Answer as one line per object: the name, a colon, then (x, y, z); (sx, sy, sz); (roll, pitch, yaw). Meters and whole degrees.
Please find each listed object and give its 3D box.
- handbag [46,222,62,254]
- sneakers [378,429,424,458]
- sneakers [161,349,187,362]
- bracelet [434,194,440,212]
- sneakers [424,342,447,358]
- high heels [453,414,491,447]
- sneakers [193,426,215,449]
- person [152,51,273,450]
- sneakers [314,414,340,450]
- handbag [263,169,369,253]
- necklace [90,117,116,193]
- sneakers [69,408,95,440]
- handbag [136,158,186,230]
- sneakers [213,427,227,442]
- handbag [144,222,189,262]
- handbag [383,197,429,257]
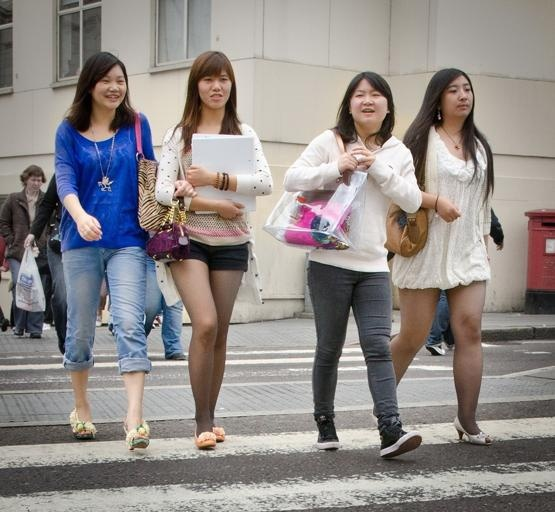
handbag: (-2.264, -0.180, 5.981); (0.104, 0.328, 0.218); (-4, -5, -2)
sneakers: (0.614, 0.954, 3.020); (0.103, 0.145, 0.277); (9, -31, -41)
sneakers: (-1.330, 1.291, 7.531); (0.300, 0.145, 0.106); (-6, -8, 34)
bracelet: (0.943, -0.307, 3.471); (0.023, 0.091, 0.062); (3, 10, 16)
sneakers: (2.296, 1.353, 8.327); (0.424, 0.213, 0.178); (5, 12, -22)
high heels: (1.165, 1.075, 3.580); (0.267, 0.156, 0.092); (-4, -2, 44)
sneakers: (-0.392, 1.013, 3.221); (0.113, 0.112, 0.114); (-1, 10, -9)
person: (-0.377, 0.015, 3.378); (0.498, 2.343, 0.616); (8, 11, 38)
sneakers: (0.286, 1.006, 3.301); (0.081, 0.122, 0.258); (-1, 0, 1)
handbag: (0.216, -0.256, 3.229); (0.487, 0.561, 0.238); (4, -17, 30)
necklace: (-0.974, -0.536, 3.344); (0.127, 0.325, 0.143); (-3, 10, -20)
sneakers: (-1.163, 1.004, 3.506); (0.090, 0.084, 0.235); (0, 5, -25)
handbag: (-0.634, -0.330, 3.253); (0.151, 0.384, 0.338); (-2, -8, 7)
sneakers: (-0.338, 1.048, 3.423); (0.039, 0.050, 0.117); (2, -6, -11)
handbag: (-0.580, -0.110, 3.142); (0.115, 0.280, 0.286); (-3, -1, -41)
handbag: (0.740, -0.181, 3.684); (0.318, 0.354, 0.185); (2, 9, -26)
